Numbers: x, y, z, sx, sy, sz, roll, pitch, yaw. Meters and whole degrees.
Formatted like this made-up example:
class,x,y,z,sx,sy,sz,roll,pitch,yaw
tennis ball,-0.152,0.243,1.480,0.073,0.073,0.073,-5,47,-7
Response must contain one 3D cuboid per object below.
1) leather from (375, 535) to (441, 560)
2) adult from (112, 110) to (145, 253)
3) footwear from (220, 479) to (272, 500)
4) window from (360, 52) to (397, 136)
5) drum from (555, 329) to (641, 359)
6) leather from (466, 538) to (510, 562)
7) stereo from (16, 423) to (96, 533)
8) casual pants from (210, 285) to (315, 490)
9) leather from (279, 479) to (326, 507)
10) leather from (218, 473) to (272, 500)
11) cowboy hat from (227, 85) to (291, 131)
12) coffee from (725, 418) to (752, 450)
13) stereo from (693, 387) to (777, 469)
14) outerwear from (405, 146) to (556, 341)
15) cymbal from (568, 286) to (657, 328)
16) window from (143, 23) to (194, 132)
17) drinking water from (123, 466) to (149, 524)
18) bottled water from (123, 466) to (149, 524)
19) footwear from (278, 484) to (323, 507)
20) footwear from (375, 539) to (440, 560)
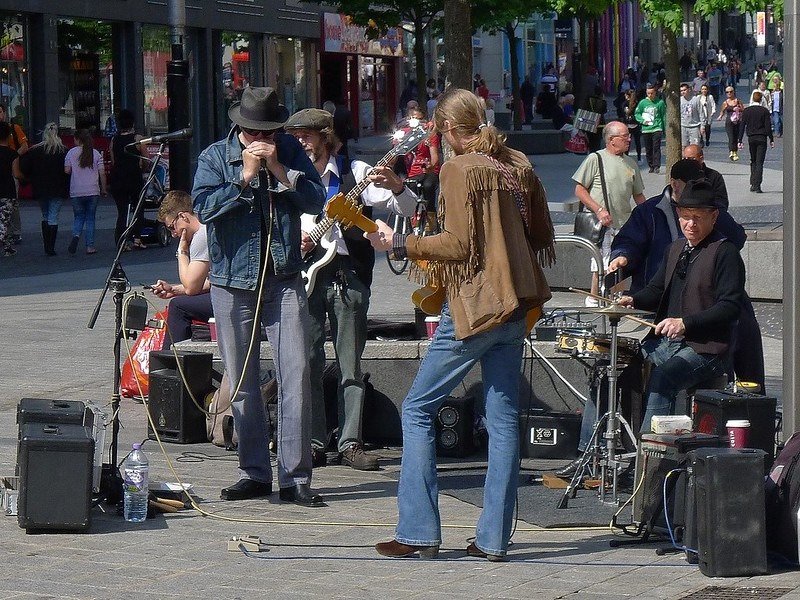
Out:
class,x,y,z,sx,sy,sz,roll,pitch,yaw
leather,0.040,1.561,10.407,0.382,0.165,0.142,5,0,3
adult,-3.634,-1.620,22.244,0.498,1.908,0.626,-1,17,-8
footwear,-1.058,1.312,11.519,0.354,0.142,0.129,2,-1,-24
window,-0.639,-6.623,53.622,0.935,2.371,2.525,-1,1,-7
drum,1.333,0.302,11.439,0.569,0.197,0.314,3,14,11
leather,0.536,1.573,10.445,0.271,0.126,0.103,-1,1,33
stereo,-2.150,1.155,10.897,0.612,0.800,0.580,1,3,-8
casual pants,-0.939,0.568,11.488,0.689,1.640,0.446,-1,-1,8
leather,-0.663,1.339,11.410,0.324,0.144,0.133,0,2,18
leather,-1.065,1.305,11.526,0.352,0.153,0.132,2,-1,-24
cowboy hat,-0.935,-1.346,11.257,0.453,0.207,0.525,-5,25,-5
coffee,2.149,0.866,10.698,0.157,0.156,0.160,0,-5,-4
stereo,2.177,0.845,11.153,0.488,0.828,0.494,0,4,-13
outerwear,0.521,-0.354,10.330,0.956,1.099,0.525,-3,14,-11
cymbal,1.633,0.063,12.782,0.412,0.156,0.269,19,4,32
window,-4.549,-4.530,34.706,0.506,2.631,0.586,-6,6,-32
drinking water,-1.734,1.267,10.950,0.161,0.371,0.159,-3,14,-9
bottled water,-1.734,1.267,10.950,0.161,0.371,0.159,-3,14,-9
footwear,-0.675,1.331,11.340,0.301,0.131,0.130,0,2,16
footwear,0.045,1.569,10.410,0.385,0.176,0.141,5,-1,3
